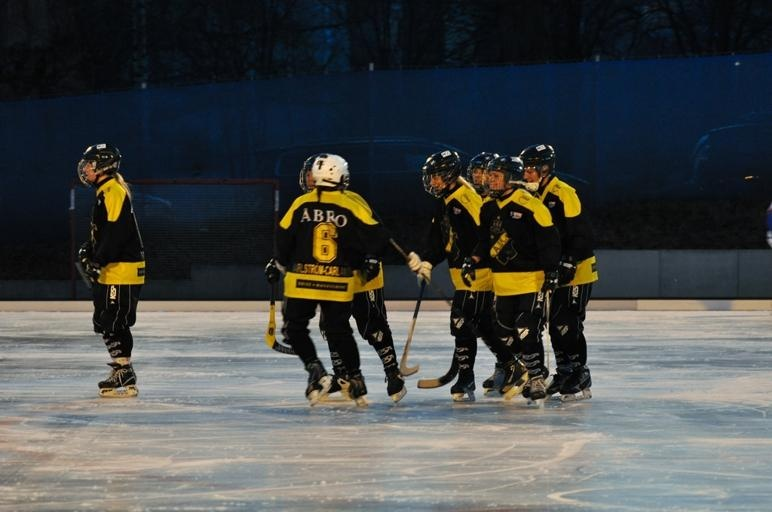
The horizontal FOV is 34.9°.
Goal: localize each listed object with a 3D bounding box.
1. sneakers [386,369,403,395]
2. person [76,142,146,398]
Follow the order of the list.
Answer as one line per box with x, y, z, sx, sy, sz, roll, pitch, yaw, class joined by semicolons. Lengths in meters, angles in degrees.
0.079;1.510;14.620;0.196;0.303;0.258;-1;10;-4;sneakers
-3.493;0.185;15.184;1.114;3.014;1.178;2;-3;-18;person
